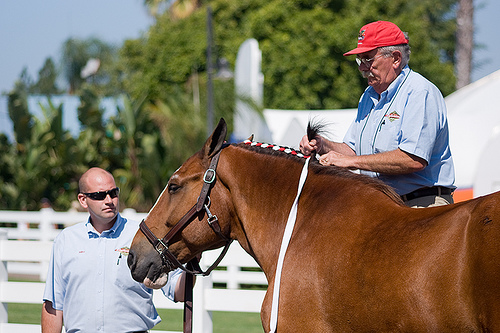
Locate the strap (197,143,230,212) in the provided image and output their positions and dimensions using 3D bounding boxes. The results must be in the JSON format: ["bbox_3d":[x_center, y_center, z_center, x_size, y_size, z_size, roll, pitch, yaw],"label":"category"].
[{"bbox_3d":[-0.909,0.068,32.129,0.256,2.071,0.152,18,-5,-8],"label":"strap"}]

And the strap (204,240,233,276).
[{"bbox_3d":[-0.732,2.213,32.529,0.369,1.292,0.296,36,5,1],"label":"strap"}]
